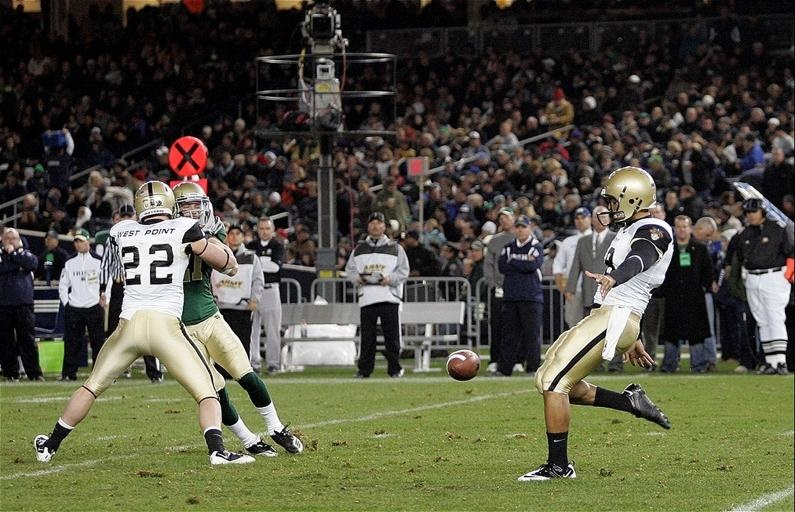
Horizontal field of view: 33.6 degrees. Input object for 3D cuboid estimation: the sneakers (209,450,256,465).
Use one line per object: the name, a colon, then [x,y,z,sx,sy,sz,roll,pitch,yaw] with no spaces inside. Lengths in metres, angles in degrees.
sneakers: [-2.296,2.797,18.323,0.640,0.239,0.228,-1,7,-10]

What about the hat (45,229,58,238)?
hat: [-7.259,-0.468,27.717,0.235,0.204,0.384,4,-5,0]

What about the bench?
bench: [-0.907,1.671,26.185,4.234,1.438,1.431,-1,-3,24]

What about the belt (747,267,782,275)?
belt: [6.732,0.308,24.427,0.617,0.170,0.122,2,14,11]

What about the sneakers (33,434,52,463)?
sneakers: [-4.991,2.731,18.525,0.198,0.447,0.194,-13,-22,42]

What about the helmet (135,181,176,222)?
helmet: [-3.420,-0.746,18.589,0.457,0.519,0.579,-1,12,-4]

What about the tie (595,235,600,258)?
tie: [3.762,-0.158,25.254,0.092,0.422,0.117,6,1,26]

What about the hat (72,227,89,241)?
hat: [-6.053,-0.398,25.407,0.274,0.199,0.376,4,-5,2]

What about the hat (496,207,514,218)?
hat: [2.056,-0.804,25.202,0.256,0.183,0.243,0,14,2]

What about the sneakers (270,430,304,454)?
sneakers: [-1.593,2.679,18.889,0.502,0.260,0.235,35,-53,-20]

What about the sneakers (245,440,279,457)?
sneakers: [-1.929,2.737,18.771,0.388,0.192,0.212,-2,7,4]
